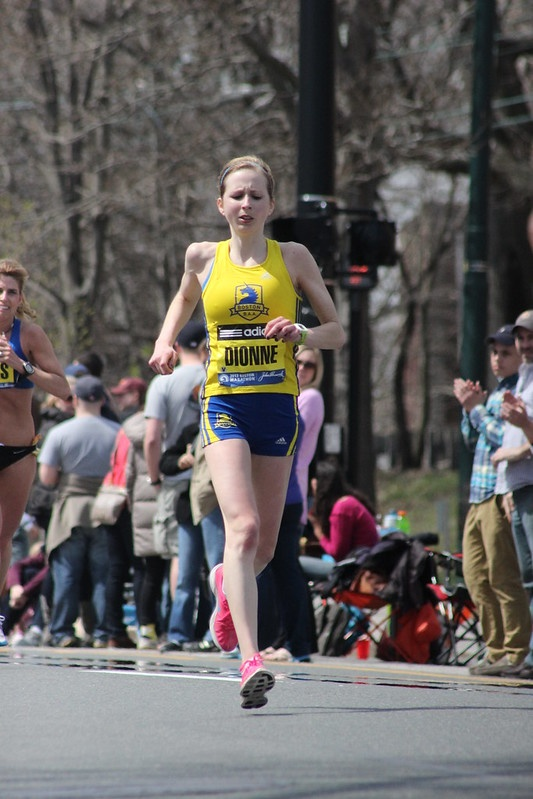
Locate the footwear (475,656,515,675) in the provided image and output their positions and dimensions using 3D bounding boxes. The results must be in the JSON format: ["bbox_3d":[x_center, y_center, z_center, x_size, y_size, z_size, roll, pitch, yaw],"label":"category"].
[{"bbox_3d":[1.177,1.414,8.840,0.234,0.089,0.342,-3,0,7],"label":"footwear"}]

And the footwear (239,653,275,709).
[{"bbox_3d":[-0.049,1.074,6.254,0.085,0.105,0.236,4,-35,-9],"label":"footwear"}]

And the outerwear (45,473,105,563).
[{"bbox_3d":[-1.257,0.793,10.987,0.472,0.602,0.355,4,-29,0],"label":"outerwear"}]

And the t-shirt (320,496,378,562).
[{"bbox_3d":[0.514,0.818,10.583,0.421,0.408,0.321,-3,-1,17],"label":"t-shirt"}]

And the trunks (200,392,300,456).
[{"bbox_3d":[-0.062,0.092,6.708,0.430,0.292,0.240,2,-10,-17],"label":"trunks"}]

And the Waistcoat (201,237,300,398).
[{"bbox_3d":[-0.079,-0.330,6.822,0.398,0.632,0.276,-3,0,1],"label":"Waistcoat"}]
